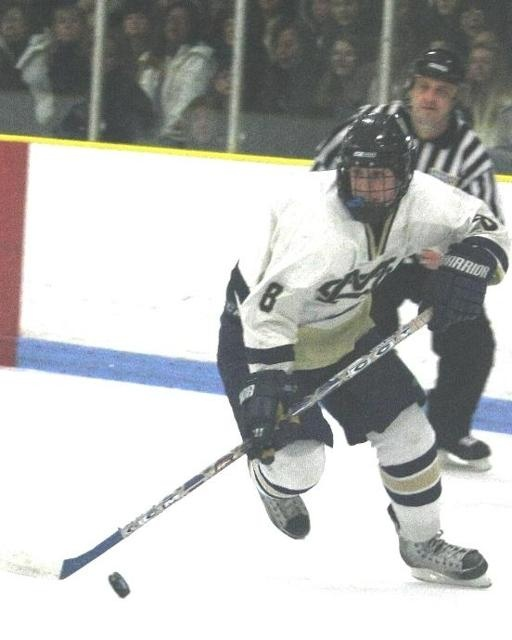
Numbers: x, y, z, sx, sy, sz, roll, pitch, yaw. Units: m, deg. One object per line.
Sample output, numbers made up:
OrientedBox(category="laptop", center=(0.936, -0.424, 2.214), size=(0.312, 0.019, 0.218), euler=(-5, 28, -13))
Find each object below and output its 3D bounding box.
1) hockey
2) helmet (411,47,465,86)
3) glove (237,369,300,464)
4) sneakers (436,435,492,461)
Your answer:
OrientedBox(category="hockey", center=(-0.102, 0.422, 2.996), size=(1.554, 0.071, 0.256), euler=(-26, 52, -11))
OrientedBox(category="helmet", center=(0.689, -0.935, 3.417), size=(0.189, 0.102, 0.168), euler=(-7, 34, -41))
OrientedBox(category="glove", center=(0.058, 0.262, 2.545), size=(0.132, 0.175, 0.262), euler=(-11, 43, 18))
OrientedBox(category="sneakers", center=(0.793, 0.481, 3.426), size=(0.161, 0.055, 0.088), euler=(1, 14, 27))
